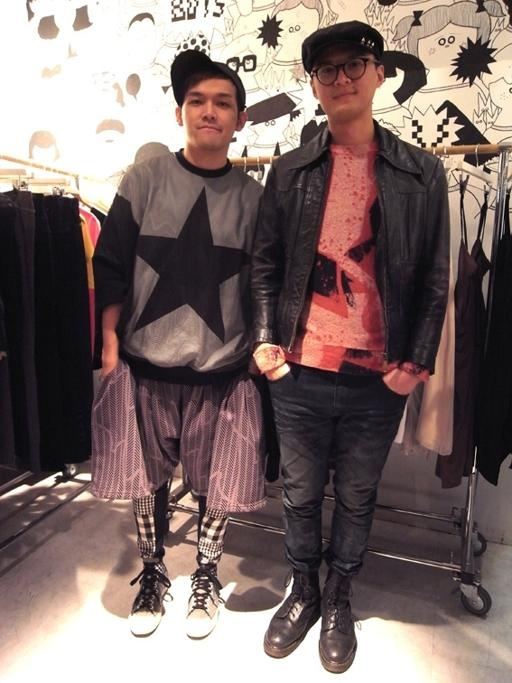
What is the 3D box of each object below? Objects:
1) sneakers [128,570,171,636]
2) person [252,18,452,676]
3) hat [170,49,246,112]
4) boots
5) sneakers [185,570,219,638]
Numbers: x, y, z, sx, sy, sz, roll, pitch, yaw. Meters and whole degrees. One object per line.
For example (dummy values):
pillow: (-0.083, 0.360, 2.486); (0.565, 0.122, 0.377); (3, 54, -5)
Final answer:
sneakers: (-0.356, 0.841, 1.802); (0.112, 0.140, 0.311); (4, 0, -3)
person: (0.236, 0.059, 1.543); (0.565, 1.796, 0.271); (4, 10, 19)
hat: (-0.147, -0.795, 1.614); (0.218, 0.168, 0.197); (1, 10, -1)
boots: (0.199, 0.834, 1.713); (0.219, 0.271, 0.280); (5, -2, 18)
sneakers: (-0.173, 0.846, 1.723); (0.073, 0.086, 0.206); (0, 5, 1)
